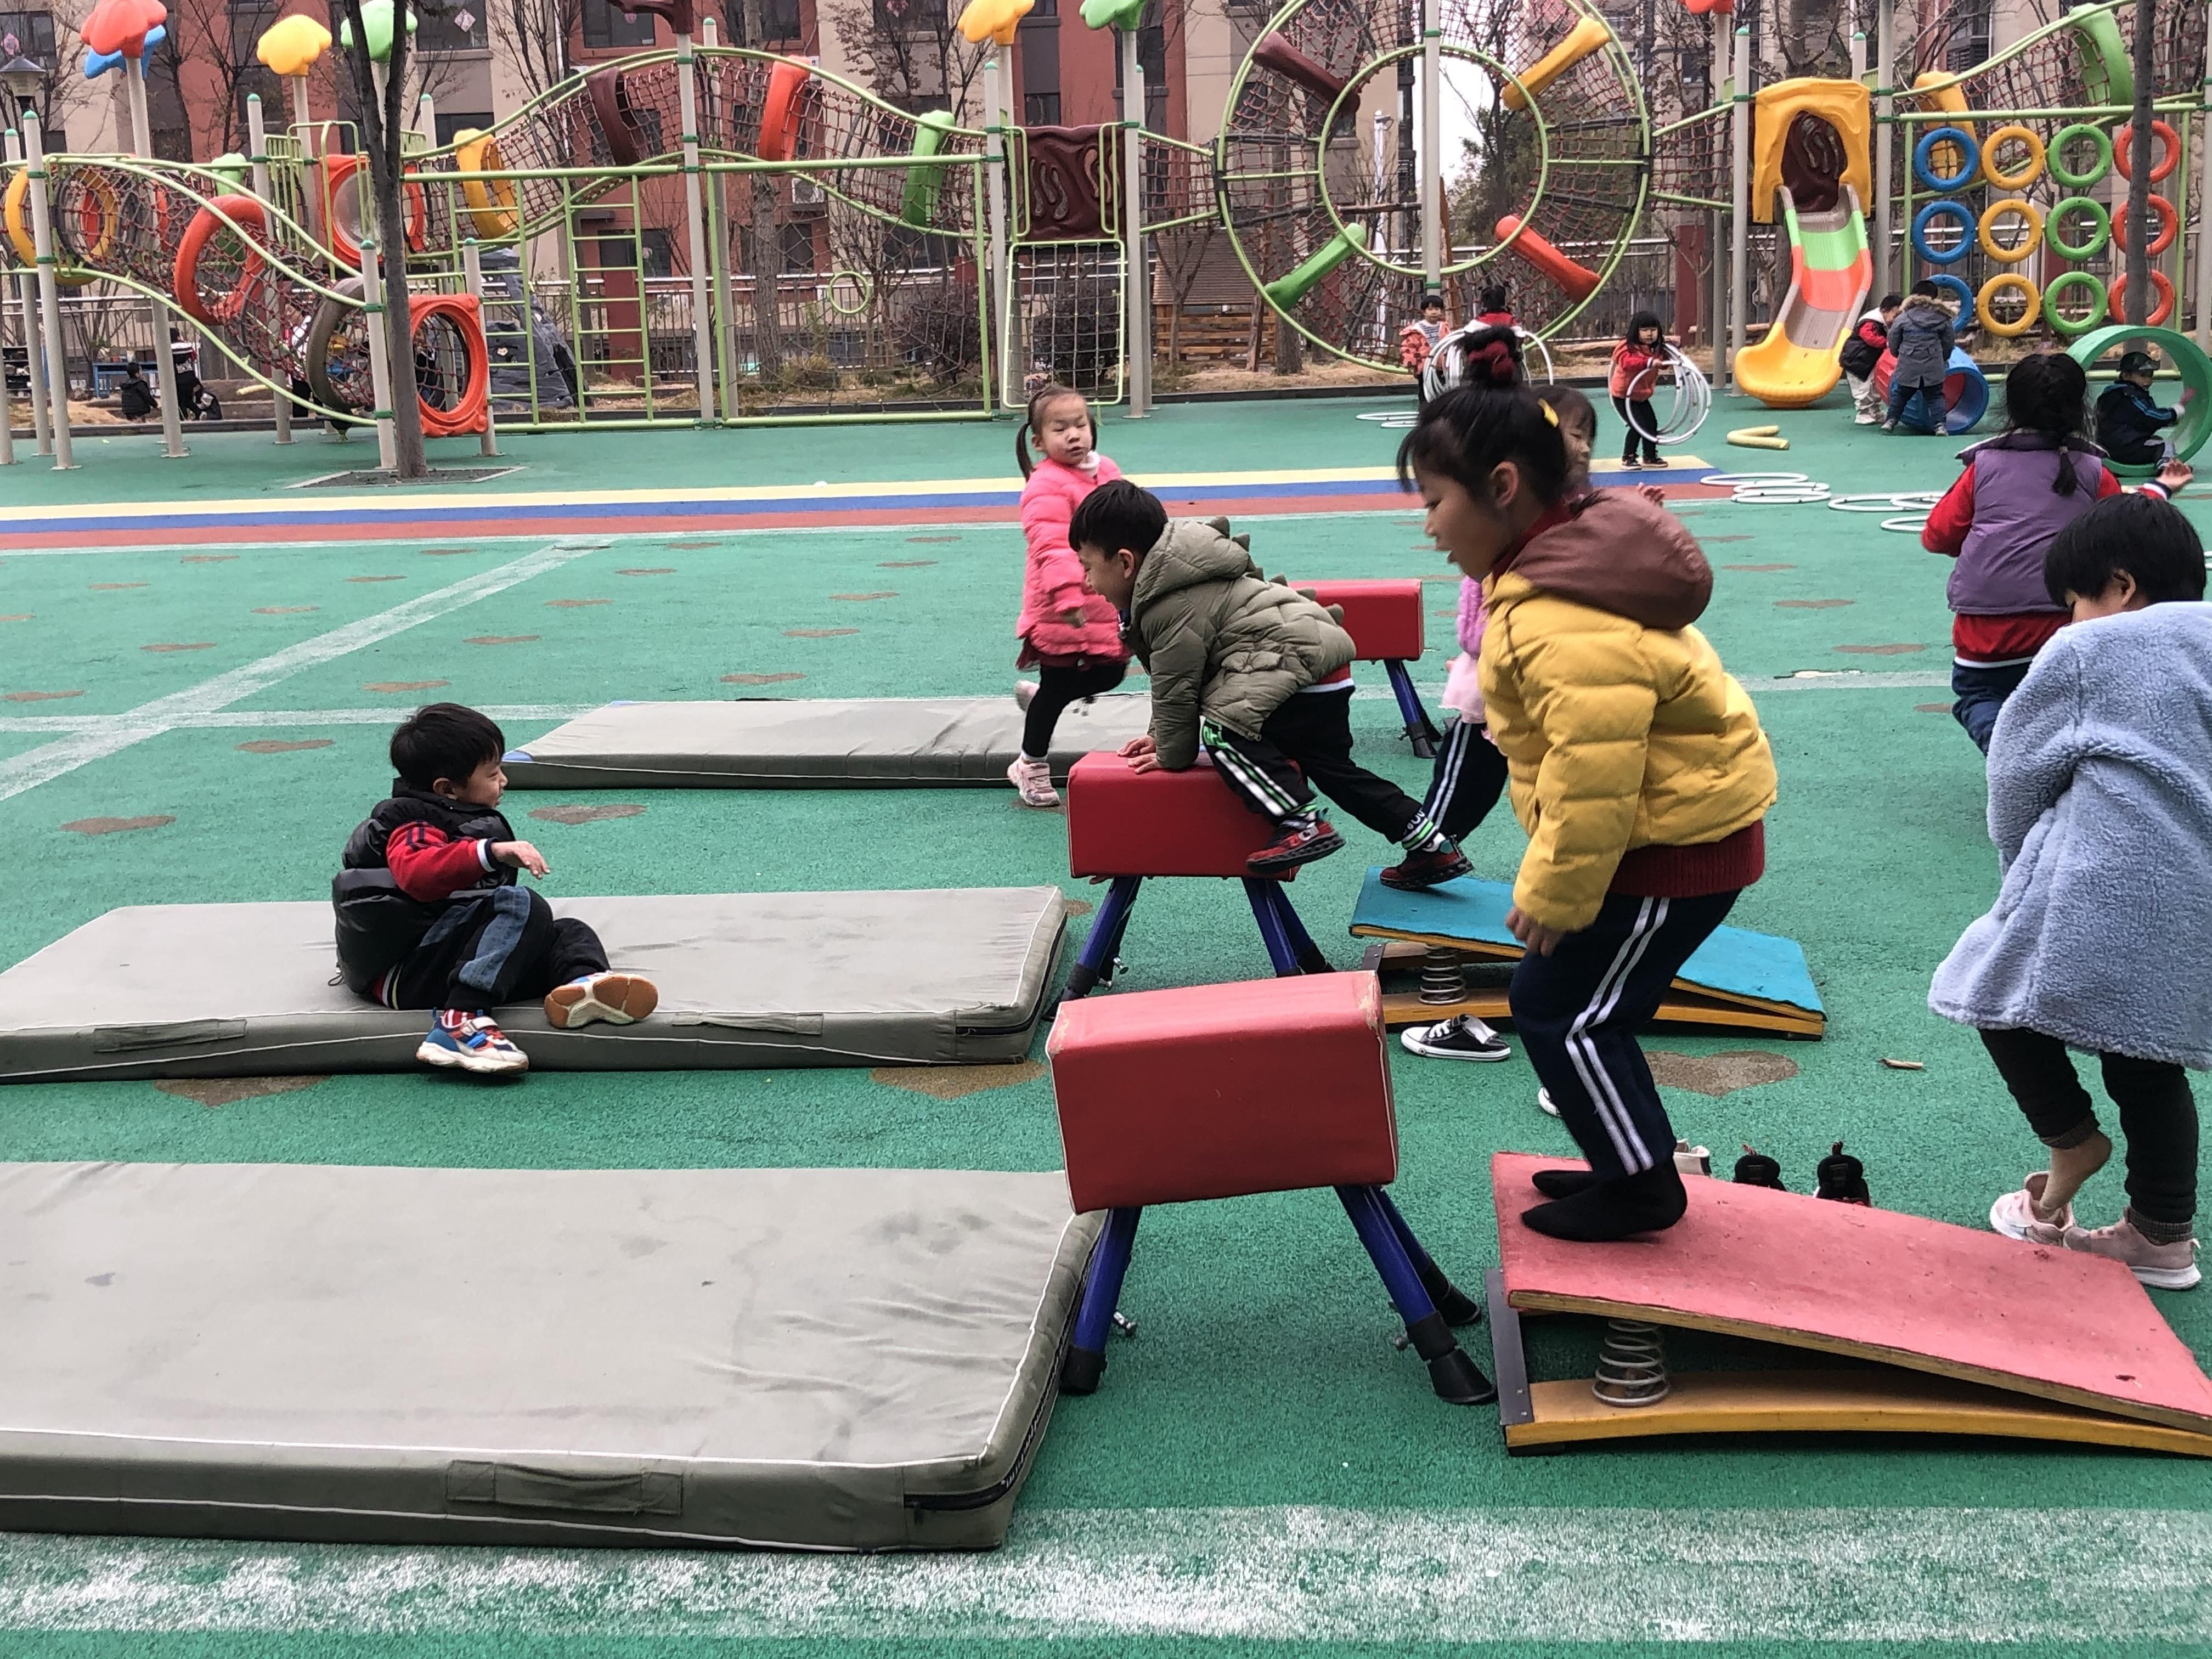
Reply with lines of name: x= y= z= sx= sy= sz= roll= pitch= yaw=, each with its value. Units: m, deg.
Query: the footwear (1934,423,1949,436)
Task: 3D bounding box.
footwear: x=7.543 y=-3.615 z=18.009 sx=0.168 sy=0.065 sz=0.202 roll=-4 pitch=0 yaw=-2

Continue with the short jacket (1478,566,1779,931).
short jacket: x=0.855 y=-0.141 z=3.240 sx=0.476 sy=0.567 sz=0.333 roll=-1 pitch=15 yaw=4

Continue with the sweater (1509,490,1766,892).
sweater: x=0.849 y=-0.243 z=3.396 sx=0.519 sy=0.668 sz=0.746 roll=-4 pitch=17 yaw=16

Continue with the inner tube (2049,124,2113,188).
inner tube: x=10.438 y=-7.276 z=21.509 sx=0.928 sy=0.780 sz=0.263 roll=-2 pitch=5 yaw=-6

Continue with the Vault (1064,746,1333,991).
Vault: x=0.213 y=0.170 z=5.133 sx=0.748 sy=0.565 sz=0.627 roll=0 pitch=-3 yaw=8

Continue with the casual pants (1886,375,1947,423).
casual pants: x=7.262 y=-3.866 z=17.835 sx=0.497 sy=0.217 sz=0.582 roll=12 pitch=-17 yaw=23

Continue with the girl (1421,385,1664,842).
girl: x=1.112 y=-0.416 z=5.476 sx=0.379 sy=1.004 sz=0.337 roll=9 pitch=-5 yaw=6

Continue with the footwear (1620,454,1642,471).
footwear: x=4.058 y=-2.842 z=15.414 sx=0.122 sy=0.114 sz=0.308 roll=6 pitch=15 yaw=16

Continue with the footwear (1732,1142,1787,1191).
footwear: x=1.214 y=0.641 z=3.700 sx=0.119 sy=0.041 sz=0.122 roll=-1 pitch=9 yaw=6

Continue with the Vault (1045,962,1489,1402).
Vault: x=0.154 y=0.660 z=3.328 sx=0.783 sy=0.606 sz=0.326 roll=-1 pitch=-9 yaw=-31

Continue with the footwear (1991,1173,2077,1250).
footwear: x=1.679 y=0.718 z=3.631 sx=0.123 sy=0.059 sz=0.156 roll=1 pitch=31 yaw=23

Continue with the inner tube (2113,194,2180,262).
inner tube: x=11.310 y=-6.673 z=21.734 sx=0.682 sy=0.727 sz=2.982 roll=5 pitch=14 yaw=26

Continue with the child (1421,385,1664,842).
child: x=1.098 y=-0.411 z=5.483 sx=0.369 sy=0.960 sz=0.304 roll=7 pitch=-4 yaw=17

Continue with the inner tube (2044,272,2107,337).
inner tube: x=11.068 y=-6.010 z=22.781 sx=0.624 sy=0.715 sz=3.705 roll=5 pitch=14 yaw=25

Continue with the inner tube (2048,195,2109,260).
inner tube: x=10.594 y=-6.596 z=21.765 sx=0.641 sy=0.683 sz=1.608 roll=5 pitch=14 yaw=24

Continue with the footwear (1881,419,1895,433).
footwear: x=7.152 y=-3.693 z=18.219 sx=0.085 sy=0.083 sz=0.290 roll=24 pitch=20 yaw=5

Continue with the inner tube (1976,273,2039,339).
inner tube: x=10.106 y=-5.915 z=22.346 sx=0.663 sy=0.643 sz=1.945 roll=4 pitch=14 yaw=23

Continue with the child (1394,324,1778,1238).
child: x=0.775 y=-0.050 z=3.470 sx=0.731 sy=1.411 sz=0.716 roll=-2 pitch=4 yaw=11

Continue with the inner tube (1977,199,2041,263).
inner tube: x=9.820 y=-6.566 z=21.665 sx=0.652 sy=0.689 sz=1.546 roll=4 pitch=14 yaw=23

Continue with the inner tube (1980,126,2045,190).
inner tube: x=9.826 y=-7.323 z=21.613 sx=0.653 sy=0.623 sz=0.589 roll=5 pitch=15 yaw=24

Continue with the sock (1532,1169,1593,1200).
sock: x=0.798 y=0.627 z=3.486 sx=0.081 sy=0.027 sz=0.055 roll=-7 pitch=12 yaw=-4

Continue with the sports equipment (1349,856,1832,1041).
sports equipment: x=1.123 y=0.311 z=4.635 sx=0.739 sy=0.172 sz=0.499 roll=0 pitch=17 yaw=5

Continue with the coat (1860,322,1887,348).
coat: x=7.083 y=-4.592 z=18.502 sx=0.275 sy=0.112 sz=0.307 roll=15 pitch=10 yaw=-1

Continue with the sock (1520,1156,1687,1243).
sock: x=0.814 y=0.632 z=3.414 sx=0.360 sy=0.134 sz=0.111 roll=-1 pitch=25 yaw=18
